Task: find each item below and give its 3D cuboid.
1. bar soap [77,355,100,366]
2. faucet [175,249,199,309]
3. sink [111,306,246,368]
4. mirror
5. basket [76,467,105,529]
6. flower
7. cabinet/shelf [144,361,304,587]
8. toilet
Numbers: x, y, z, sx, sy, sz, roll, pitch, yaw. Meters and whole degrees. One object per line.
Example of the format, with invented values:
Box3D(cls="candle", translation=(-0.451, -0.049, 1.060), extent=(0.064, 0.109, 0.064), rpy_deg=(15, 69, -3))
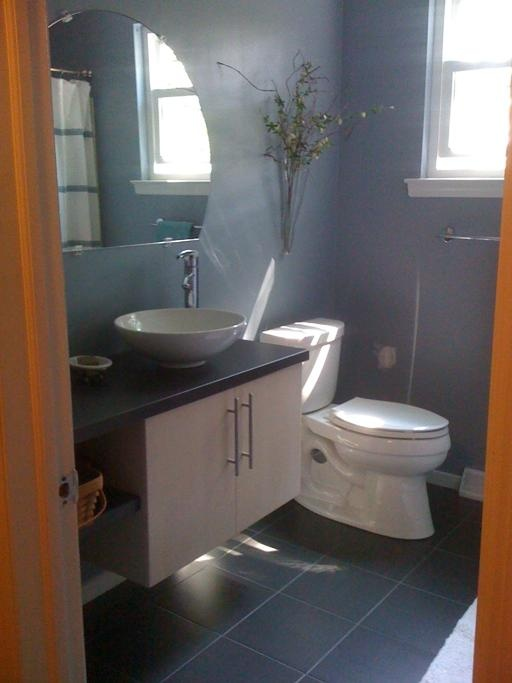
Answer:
Box3D(cls="bar soap", translation=(-0.462, 0.054, 1.600), extent=(0.057, 0.013, 0.061), rpy_deg=(-2, 10, -17))
Box3D(cls="faucet", translation=(-0.240, -0.213, 1.977), extent=(0.062, 0.190, 0.096), rpy_deg=(-6, 11, -35))
Box3D(cls="sink", translation=(-0.221, -0.004, 1.720), extent=(0.370, 0.144, 0.436), rpy_deg=(5, 10, 25))
Box3D(cls="mirror", translation=(-0.379, -0.647, 1.834), extent=(0.106, 0.683, 0.619), rpy_deg=(5, 10, 26))
Box3D(cls="basket", translation=(-0.397, 0.373, 1.415), extent=(0.065, 0.122, 0.164), rpy_deg=(-2, 9, -15))
Box3D(cls="flower", translation=(0.256, -0.815, 2.583), extent=(0.173, 0.841, 0.693), rpy_deg=(6, 10, 30))
Box3D(cls="cabinet/shelf", translation=(-0.139, 0.325, 1.759), extent=(0.293, 0.495, 0.629), rpy_deg=(12, 18, 41))
Box3D(cls="toilet", translation=(0.516, 0.287, 2.828), extent=(0.946, 1.091, 0.613), rpy_deg=(7, 15, 37))
